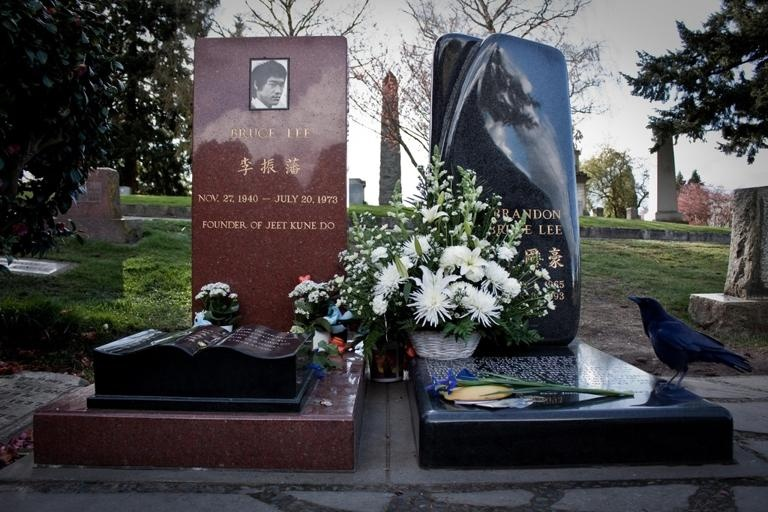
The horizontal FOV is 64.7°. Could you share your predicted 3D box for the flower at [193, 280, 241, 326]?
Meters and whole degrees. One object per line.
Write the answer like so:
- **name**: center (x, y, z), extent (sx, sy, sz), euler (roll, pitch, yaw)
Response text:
- **flower**: center (-1.547, 0.443, 5.713), extent (0.426, 0.496, 0.408), euler (-2, 1, 9)
